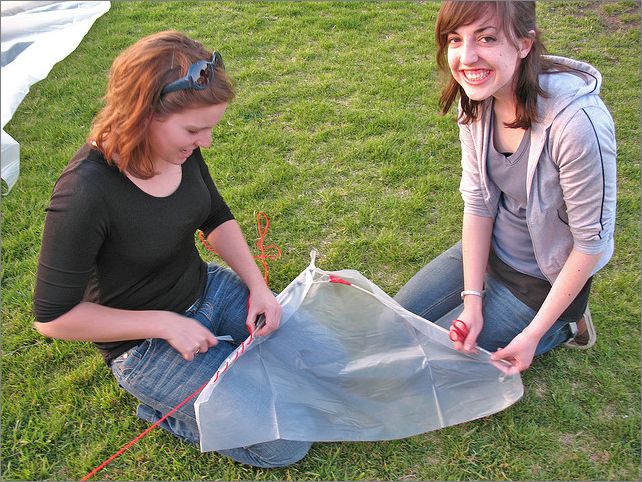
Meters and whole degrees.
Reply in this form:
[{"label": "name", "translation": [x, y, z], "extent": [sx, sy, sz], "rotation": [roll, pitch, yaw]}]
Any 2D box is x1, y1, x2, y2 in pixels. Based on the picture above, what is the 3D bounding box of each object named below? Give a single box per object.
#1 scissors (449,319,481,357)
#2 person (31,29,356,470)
[{"label": "scissors", "translation": [0.750, 0.448, 2.911], "extent": [0.126, 0.054, 0.229], "rotation": [-30, 8, 26]}, {"label": "person", "translation": [-0.545, 0.081, 2.832], "extent": [1.251, 2.109, 1.184], "rotation": [13, 34, 13]}]
